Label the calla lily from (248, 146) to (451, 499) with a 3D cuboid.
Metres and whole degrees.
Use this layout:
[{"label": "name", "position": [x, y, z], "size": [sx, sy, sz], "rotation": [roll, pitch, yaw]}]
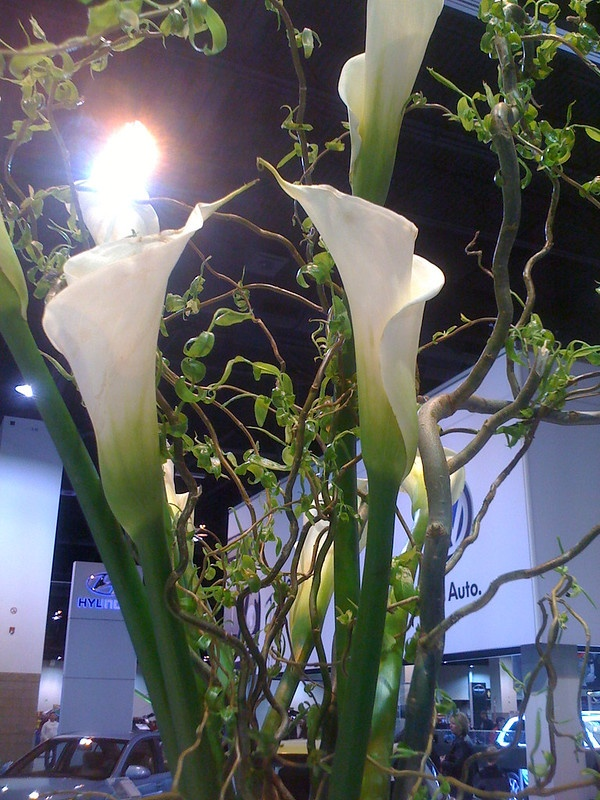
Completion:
[{"label": "calla lily", "position": [0.029, -0.033, 0.258], "size": [0.061, 0.127, 0.074], "rotation": [-10, -21, 30]}]
